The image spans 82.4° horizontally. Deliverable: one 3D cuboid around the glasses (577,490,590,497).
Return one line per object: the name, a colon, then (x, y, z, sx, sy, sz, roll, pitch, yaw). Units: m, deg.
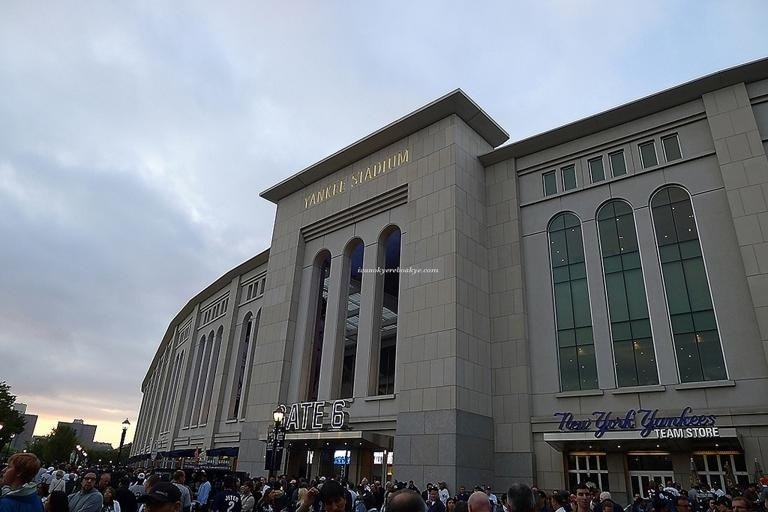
glasses: (4.374, 5.166, 9.635, 0.157, 0.067, 0.183, 2, -22, 8)
